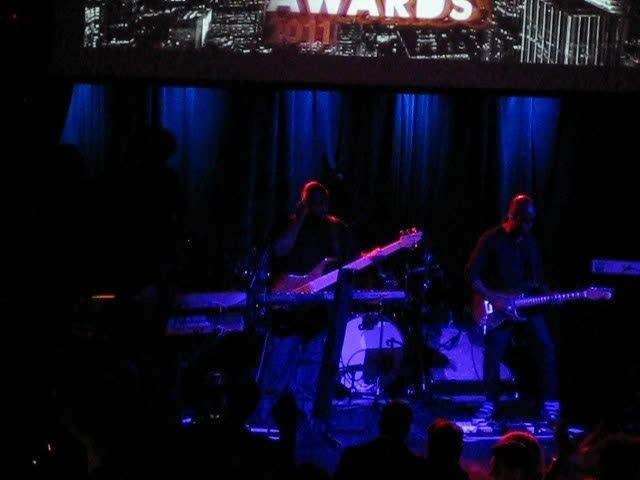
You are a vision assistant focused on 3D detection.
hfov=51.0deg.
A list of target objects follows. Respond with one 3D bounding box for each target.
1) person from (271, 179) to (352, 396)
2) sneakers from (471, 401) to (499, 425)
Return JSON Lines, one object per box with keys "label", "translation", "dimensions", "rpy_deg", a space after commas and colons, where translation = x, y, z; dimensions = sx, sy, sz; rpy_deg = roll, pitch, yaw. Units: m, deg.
{"label": "person", "translation": [-0.056, 0.489, 5.673], "dimensions": [0.789, 2.353, 0.330], "rpy_deg": [5, 38, -1]}
{"label": "sneakers", "translation": [1.478, 1.522, 5.900], "dimensions": [0.302, 0.249, 0.105], "rpy_deg": [3, 9, -29]}
